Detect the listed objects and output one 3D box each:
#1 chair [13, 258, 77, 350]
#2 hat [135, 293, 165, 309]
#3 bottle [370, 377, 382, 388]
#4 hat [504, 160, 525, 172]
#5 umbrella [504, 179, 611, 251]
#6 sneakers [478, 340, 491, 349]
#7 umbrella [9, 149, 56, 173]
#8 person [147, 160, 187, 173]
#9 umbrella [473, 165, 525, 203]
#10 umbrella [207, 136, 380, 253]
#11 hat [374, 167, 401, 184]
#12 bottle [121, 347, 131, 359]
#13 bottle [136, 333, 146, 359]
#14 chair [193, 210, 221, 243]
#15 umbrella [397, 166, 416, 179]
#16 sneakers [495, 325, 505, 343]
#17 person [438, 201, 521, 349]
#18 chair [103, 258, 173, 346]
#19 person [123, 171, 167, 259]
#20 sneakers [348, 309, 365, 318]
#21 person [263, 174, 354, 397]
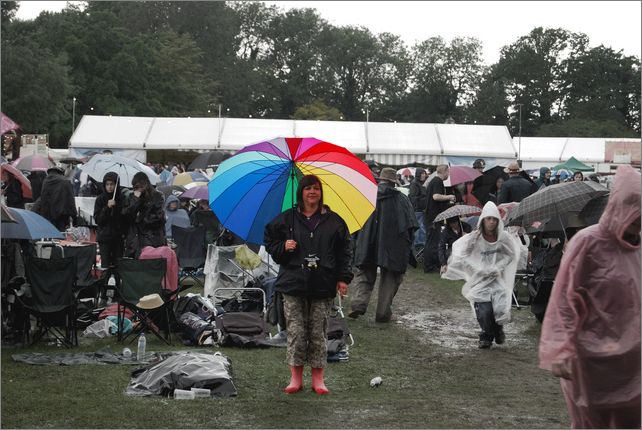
[{"bbox_3d":[-4.165,1.308,12.442,0.940,1.342,0.771,2,-2,-7],"label":"chair"},{"bbox_3d":[-2.625,1.310,12.511,0.413,0.228,0.245,2,-2,-11],"label":"hat"},{"bbox_3d":[0.780,2.316,11.389,0.177,0.108,0.098,2,-2,-8],"label":"bottle"},{"bbox_3d":[4.323,-1.060,18.165,0.567,0.200,0.575,-1,6,2],"label":"hat"},{"bbox_3d":[3.894,-0.060,13.644,1.119,0.612,1.077,-24,-6,-1],"label":"umbrella"},{"bbox_3d":[2.620,2.032,12.951,0.206,0.136,0.209,1,-2,10],"label":"sneakers"},{"bbox_3d":[-6.736,-1.217,19.068,1.026,0.365,0.965,-1,6,-5],"label":"umbrella"},{"bbox_3d":[-5.558,-1.705,28.684,1.619,0.471,1.496,1,-1,0],"label":"person"},{"bbox_3d":[4.175,-0.807,20.215,0.878,0.806,0.405,23,-3,1],"label":"umbrella"},{"bbox_3d":[-0.415,-0.222,12.003,2.372,0.860,2.109,5,-45,0],"label":"umbrella"},{"bbox_3d":[1.208,-0.694,14.338,0.287,0.144,0.258,19,-10,-5],"label":"hat"},{"bbox_3d":[-2.808,1.988,11.868,0.135,0.120,0.132,6,2,-7],"label":"bottle"},{"bbox_3d":[-2.587,1.881,11.755,0.107,0.364,0.297,2,-2,-13],"label":"bottle"},{"bbox_3d":[-2.359,0.200,17.797,0.645,0.804,0.685,0,19,8],"label":"chair"},{"bbox_3d":[2.884,-1.490,27.570,1.039,0.326,0.950,0,-1,4],"label":"umbrella"},{"bbox_3d":[2.864,1.901,13.018,0.127,0.298,0.216,2,-2,14],"label":"sneakers"},{"bbox_3d":[2.613,0.941,13.047,1.062,2.318,0.386,2,-2,11],"label":"person"},{"bbox_3d":[-2.715,1.302,12.438,1.126,1.230,1.176,0,0,40],"label":"chair"},{"bbox_3d":[-3.060,-0.021,14.103,0.729,1.476,0.456,2,-2,-11],"label":"person"},{"bbox_3d":[0.622,1.711,14.255,0.295,0.119,0.109,4,-42,2],"label":"sneakers"},{"bbox_3d":[-0.173,0.926,11.006,1.190,2.947,0.369,2,-2,-3],"label":"person"}]
